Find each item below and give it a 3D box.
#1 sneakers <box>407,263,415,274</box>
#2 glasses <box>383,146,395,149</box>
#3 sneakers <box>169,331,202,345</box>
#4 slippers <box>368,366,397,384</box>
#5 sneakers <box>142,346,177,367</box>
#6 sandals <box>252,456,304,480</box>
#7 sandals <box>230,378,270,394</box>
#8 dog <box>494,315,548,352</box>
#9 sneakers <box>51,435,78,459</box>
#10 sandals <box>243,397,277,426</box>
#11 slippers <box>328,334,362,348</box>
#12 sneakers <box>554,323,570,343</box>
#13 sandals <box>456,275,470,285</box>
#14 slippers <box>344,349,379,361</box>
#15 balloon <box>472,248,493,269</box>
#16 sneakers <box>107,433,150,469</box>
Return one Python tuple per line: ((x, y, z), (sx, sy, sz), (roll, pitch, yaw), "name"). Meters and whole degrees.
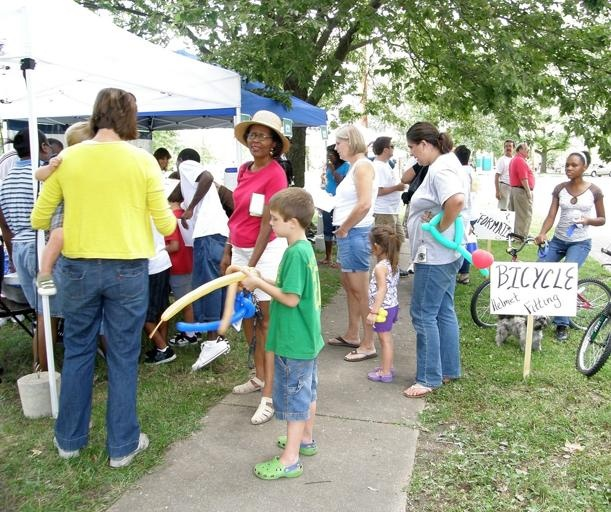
((1.694, 0.198, 8.905), (0.123, 0.153, 0.425), (-5, -2, 12), "sneakers")
((1.115, -1.481, 7.467), (0.128, 0.037, 0.125), (-1, 5, 27), "glasses")
((-1.303, 0.883, 6.010), (0.332, 0.146, 0.130), (6, 1, -11), "sneakers")
((0.690, 1.102, 5.117), (0.209, 0.088, 0.113), (3, 2, 14), "slippers")
((-1.431, 0.987, 5.437), (0.330, 0.145, 0.129), (1, 4, -6), "sneakers")
((-0.189, 1.416, 3.705), (0.278, 0.112, 0.133), (4, -8, -10), "sandals")
((-0.489, 1.141, 4.840), (0.329, 0.136, 0.140), (2, -3, -24), "sandals")
((2.249, 0.741, 5.856), (0.245, 0.468, 0.626), (-7, 9, -31), "dog")
((-1.678, 1.342, 3.853), (0.089, 0.107, 0.236), (5, 24, -36), "sneakers")
((-0.344, 1.218, 4.313), (0.125, 0.118, 0.283), (-1, -2, 16), "sandals")
((0.415, 0.909, 5.962), (0.300, 0.088, 0.124), (2, -2, 11), "slippers")
((2.809, 0.837, 6.057), (0.100, 0.114, 0.293), (-9, -2, 16), "sneakers")
((2.417, 0.360, 8.463), (0.098, 0.117, 0.283), (-4, 10, 8), "sandals")
((0.555, 0.993, 5.570), (0.282, 0.080, 0.122), (5, -11, -31), "slippers")
((1.485, 0.021, 4.693), (0.170, 0.146, 0.097), (57, 2, 36), "balloon")
((-1.198, 1.364, 3.836), (0.106, 0.142, 0.313), (19, 35, 22), "sneakers")
